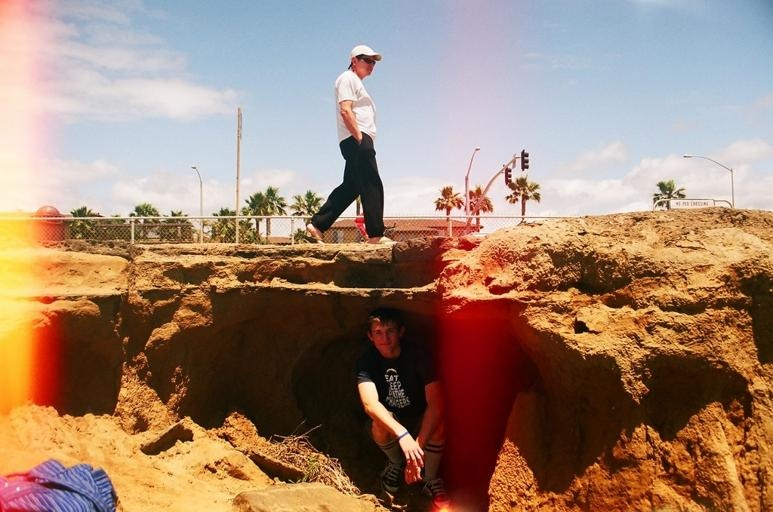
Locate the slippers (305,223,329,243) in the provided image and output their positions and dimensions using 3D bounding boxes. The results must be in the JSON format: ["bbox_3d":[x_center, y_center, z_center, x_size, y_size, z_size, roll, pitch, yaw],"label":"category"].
[{"bbox_3d":[-0.751,-0.237,6.086,0.216,0.139,0.085,27,18,-3],"label":"slippers"}]

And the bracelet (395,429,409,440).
[{"bbox_3d":[0.161,1.640,5.210,0.127,0.057,0.061,-4,6,-40],"label":"bracelet"}]

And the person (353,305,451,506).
[{"bbox_3d":[0.150,1.521,5.703,0.864,1.986,1.208,-1,4,-14],"label":"person"}]

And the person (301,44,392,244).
[{"bbox_3d":[-0.376,-1.184,5.980,0.817,2.079,0.579,0,4,0],"label":"person"}]

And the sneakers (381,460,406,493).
[{"bbox_3d":[0.065,2.311,5.995,0.136,0.183,0.414,8,9,-11],"label":"sneakers"}]
